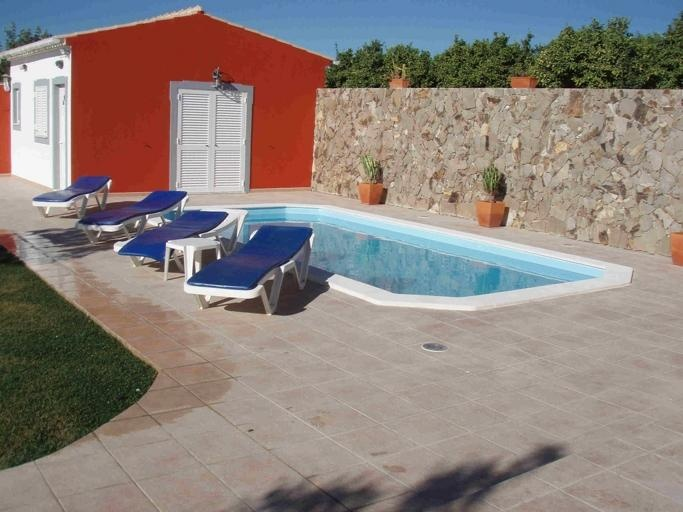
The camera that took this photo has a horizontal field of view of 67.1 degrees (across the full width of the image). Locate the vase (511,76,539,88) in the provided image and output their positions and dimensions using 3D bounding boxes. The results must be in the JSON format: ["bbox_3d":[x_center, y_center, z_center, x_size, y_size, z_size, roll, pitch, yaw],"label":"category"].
[{"bbox_3d":[4.389,-4.153,12.339,0.671,0.183,0.402,1,7,10],"label":"vase"}]

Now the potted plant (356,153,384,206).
[{"bbox_3d":[0.892,-2.211,15.002,0.767,1.409,1.048,5,12,3],"label":"potted plant"}]

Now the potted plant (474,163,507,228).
[{"bbox_3d":[3.589,-1.430,12.214,0.674,1.476,0.781,11,14,26],"label":"potted plant"}]

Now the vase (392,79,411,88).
[{"bbox_3d":[1.668,-4.956,14.968,0.442,0.197,0.492,0,2,3],"label":"vase"}]
